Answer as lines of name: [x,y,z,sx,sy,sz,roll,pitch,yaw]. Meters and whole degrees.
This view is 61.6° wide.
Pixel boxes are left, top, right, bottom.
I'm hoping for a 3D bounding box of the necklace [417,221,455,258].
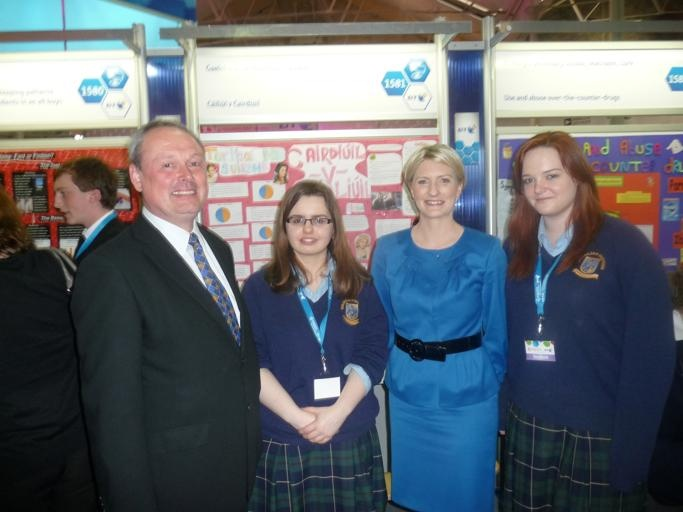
necklace: [0.597,-0.125,3.622,0.167,0.230,0.097,-3,13,4]
